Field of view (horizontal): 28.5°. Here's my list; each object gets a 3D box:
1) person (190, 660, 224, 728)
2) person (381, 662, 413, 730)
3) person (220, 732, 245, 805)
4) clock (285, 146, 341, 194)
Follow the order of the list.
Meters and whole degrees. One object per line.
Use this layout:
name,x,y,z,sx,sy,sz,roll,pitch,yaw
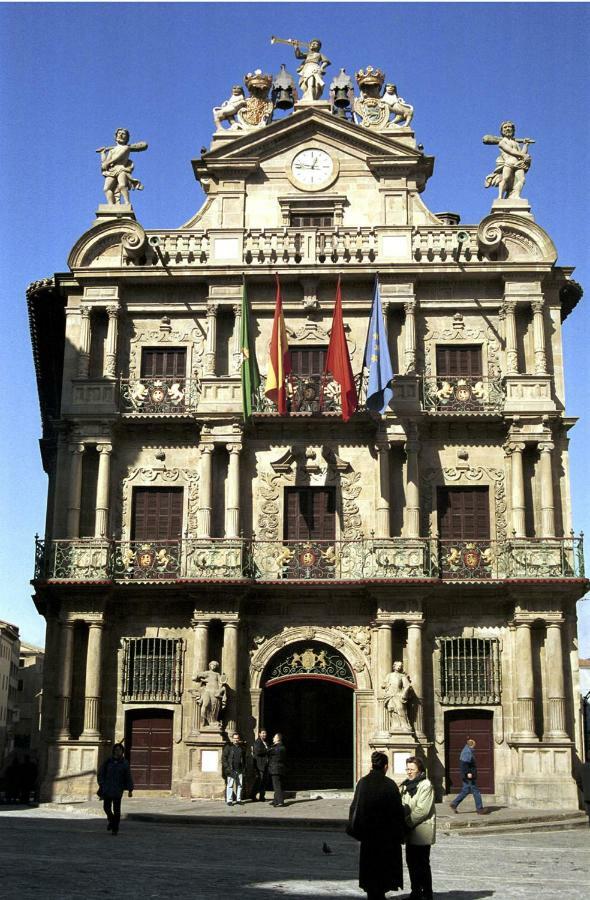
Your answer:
person,-2.116,6.144,28.993,0.812,1.573,0.562,2,-19,-4
person,2.544,6.154,28.655,0.723,1.663,0.816,-2,-19,6
person,-1.473,7.534,27.247,0.499,1.621,0.681,1,-19,-4
clock,0.515,-8.261,34.293,1.672,1.782,0.166,0,-30,0
